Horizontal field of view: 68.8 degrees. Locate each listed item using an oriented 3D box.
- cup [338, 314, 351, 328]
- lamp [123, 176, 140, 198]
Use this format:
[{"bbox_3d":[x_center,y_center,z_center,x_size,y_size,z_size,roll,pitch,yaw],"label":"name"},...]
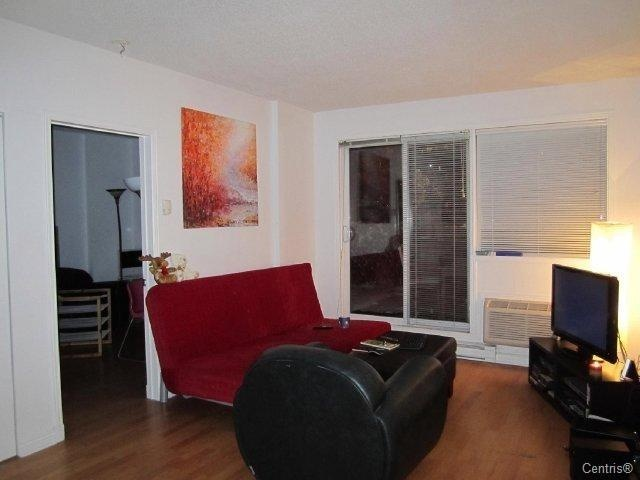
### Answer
[{"bbox_3d":[0.252,0.853,4.879,0.102,0.093,0.115,5,-9,-44],"label":"cup"},{"bbox_3d":[-2.771,-0.800,6.931,0.204,0.270,0.873,-3,6,-22],"label":"lamp"}]
